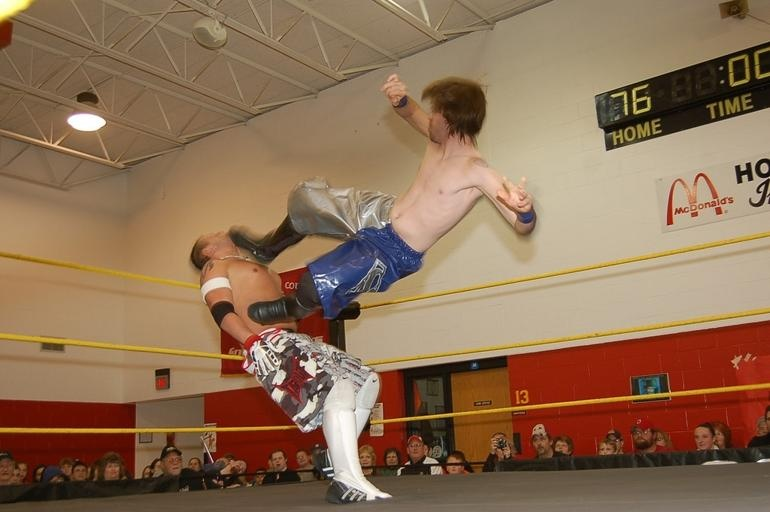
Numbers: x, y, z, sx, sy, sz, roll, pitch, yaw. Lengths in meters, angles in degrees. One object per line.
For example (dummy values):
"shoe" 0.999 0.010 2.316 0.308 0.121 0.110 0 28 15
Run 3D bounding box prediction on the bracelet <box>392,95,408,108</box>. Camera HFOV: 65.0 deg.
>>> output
"bracelet" 0.095 -0.926 3.692 0.082 0.057 0.065 -4 -30 -9

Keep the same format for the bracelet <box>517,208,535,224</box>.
"bracelet" 0.767 -0.209 3.266 0.082 0.062 0.082 -1 -4 9

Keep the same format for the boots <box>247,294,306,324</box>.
"boots" -0.601 0.310 3.447 0.310 0.130 0.152 -2 -48 22

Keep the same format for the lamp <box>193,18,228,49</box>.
"lamp" -2.114 -2.714 7.335 0.335 0.317 0.409 -6 -19 12

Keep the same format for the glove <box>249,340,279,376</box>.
"glove" -0.720 0.608 3.683 0.174 0.217 0.058 -33 -14 20
